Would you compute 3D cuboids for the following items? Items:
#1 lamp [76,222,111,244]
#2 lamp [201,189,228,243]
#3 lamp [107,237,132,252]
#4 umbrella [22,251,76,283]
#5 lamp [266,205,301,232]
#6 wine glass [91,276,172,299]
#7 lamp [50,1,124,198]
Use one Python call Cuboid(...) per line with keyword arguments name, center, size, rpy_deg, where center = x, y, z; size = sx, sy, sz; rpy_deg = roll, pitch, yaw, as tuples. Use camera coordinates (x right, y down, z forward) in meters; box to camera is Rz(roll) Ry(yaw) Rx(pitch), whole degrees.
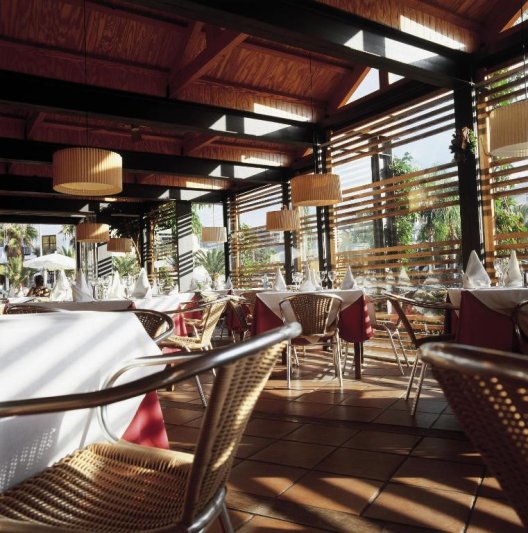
Cuboid(name="lamp", center=(-2.892, -0.540, 7.323), size=(0.412, 0.226, 0.391), rpy_deg=(2, -6, -39))
Cuboid(name="lamp", center=(-0.987, -0.995, 8.607), size=(0.673, 1.023, 0.633), rpy_deg=(-1, -5, 3))
Cuboid(name="lamp", center=(-2.802, -0.425, 8.479), size=(0.336, 0.185, 0.319), rpy_deg=(3, -7, -40))
Cuboid(name="umbrella", center=(-9.459, 0.093, 19.418), size=(2.309, 0.996, 2.023), rpy_deg=(-1, -4, -10))
Cuboid(name="lamp", center=(0.236, -0.668, 6.125), size=(0.375, 0.231, 0.348), rpy_deg=(2, -8, -11))
Cuboid(name="wine glass", center=(-1.382, 0.269, 4.767), size=(0.540, 0.161, 0.383), rpy_deg=(6, -8, -44))
Cuboid(name="lamp", center=(-1.734, -1.718, 4.330), size=(0.608, 2.094, 1.018), rpy_deg=(-1, -4, -18))
